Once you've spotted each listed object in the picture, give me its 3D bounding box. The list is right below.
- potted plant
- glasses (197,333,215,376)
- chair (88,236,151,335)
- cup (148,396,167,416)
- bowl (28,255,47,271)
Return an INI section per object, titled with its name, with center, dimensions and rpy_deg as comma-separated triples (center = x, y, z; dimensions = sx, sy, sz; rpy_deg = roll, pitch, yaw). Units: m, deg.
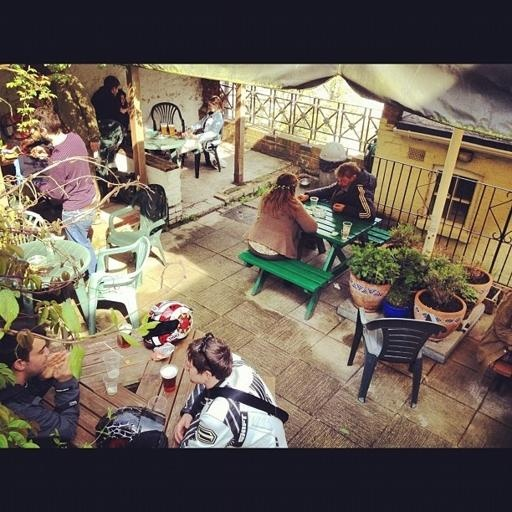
[potted plant]
center = 1.773, 0.389, 4.662
dimensions = 1.334, 0.901, 1.363
rpy_deg = -3, 24, -26
[glasses]
center = -0.300, 0.577, 2.276
dimensions = 0.054, 0.162, 0.128
rpy_deg = 2, 11, -6
[chair]
center = -1.550, 0.332, 4.346
dimensions = 0.700, 0.956, 0.735
rpy_deg = 3, 44, -22
[cup]
center = -0.641, 0.984, 2.562
dimensions = 0.120, 0.118, 0.120
rpy_deg = 2, 23, -1
[bowl]
center = -2.204, 0.054, 3.868
dimensions = 0.161, 0.061, 0.375
rpy_deg = -14, 32, -28
